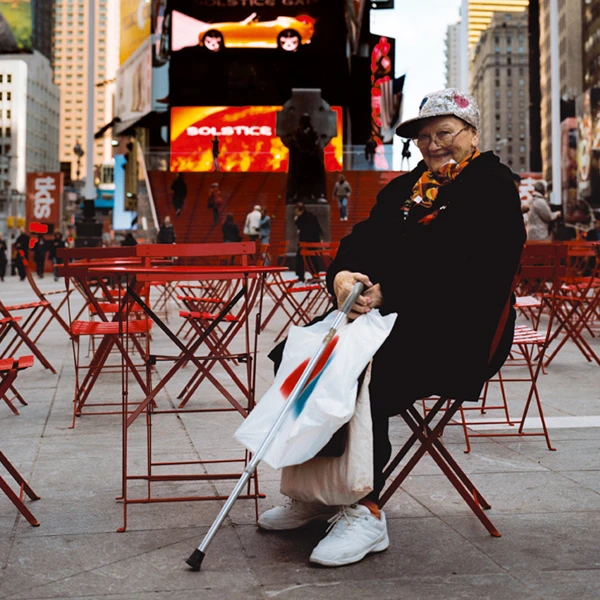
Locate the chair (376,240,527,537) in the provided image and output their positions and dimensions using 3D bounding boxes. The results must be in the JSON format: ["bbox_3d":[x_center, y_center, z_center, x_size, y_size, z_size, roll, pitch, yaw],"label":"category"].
[{"bbox_3d":[0.602,0.553,5.414,0.943,1.430,0.749,1,1,4],"label":"chair"}]

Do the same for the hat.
[{"bbox_3d":[0.587,-0.804,4.982,0.362,0.203,0.299,1,-15,9],"label":"hat"}]

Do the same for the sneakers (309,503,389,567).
[{"bbox_3d":[0.193,0.936,4.595,0.243,0.179,0.341,4,11,19],"label":"sneakers"}]

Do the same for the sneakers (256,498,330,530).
[{"bbox_3d":[-0.037,0.906,4.922,0.330,0.155,0.124,0,2,-14],"label":"sneakers"}]
